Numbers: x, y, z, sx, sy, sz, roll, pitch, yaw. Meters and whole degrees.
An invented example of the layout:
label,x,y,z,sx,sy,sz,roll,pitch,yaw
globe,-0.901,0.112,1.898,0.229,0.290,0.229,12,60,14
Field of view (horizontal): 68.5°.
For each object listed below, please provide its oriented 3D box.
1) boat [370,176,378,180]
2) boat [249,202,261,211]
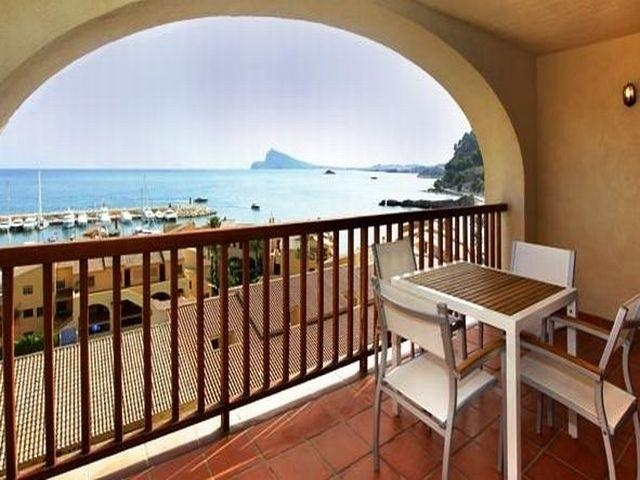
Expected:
label,x,y,z,sx,sy,sz,roll,pitch,yaw
boat,5.404,-6.215,46.954,0.823,0.304,0.338,2,12,31
boat,-6.784,-3.476,49.281,0.760,0.600,0.891,5,12,16
